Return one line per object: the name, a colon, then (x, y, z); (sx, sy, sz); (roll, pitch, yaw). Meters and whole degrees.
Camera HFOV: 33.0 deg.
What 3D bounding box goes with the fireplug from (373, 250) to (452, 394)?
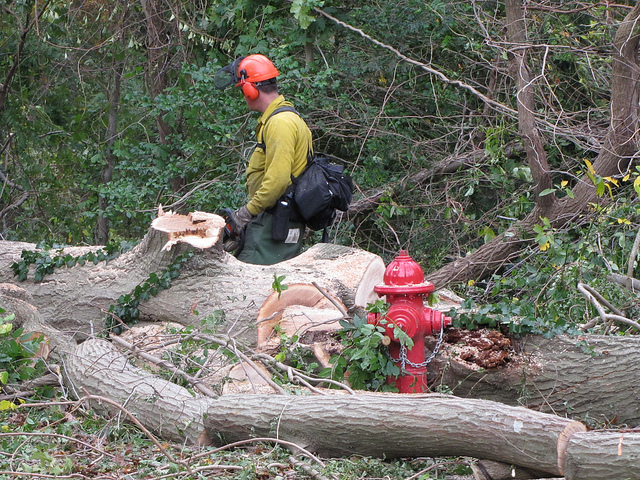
fireplug: (0.850, 0.741, 9.817); (0.638, 1.102, 0.824); (-6, 27, 1)
